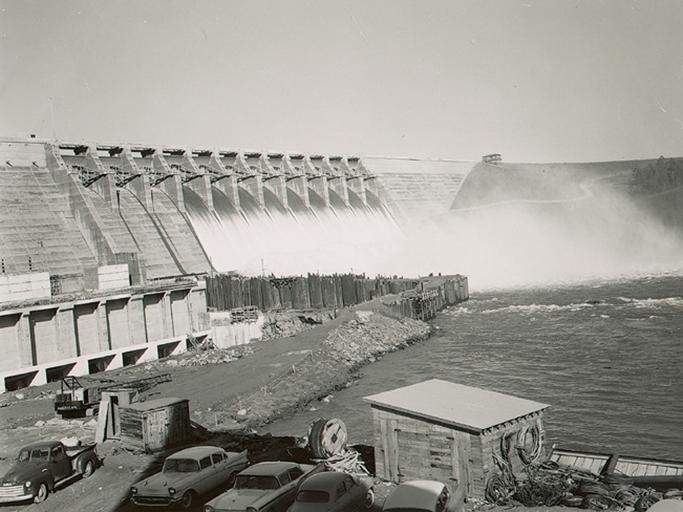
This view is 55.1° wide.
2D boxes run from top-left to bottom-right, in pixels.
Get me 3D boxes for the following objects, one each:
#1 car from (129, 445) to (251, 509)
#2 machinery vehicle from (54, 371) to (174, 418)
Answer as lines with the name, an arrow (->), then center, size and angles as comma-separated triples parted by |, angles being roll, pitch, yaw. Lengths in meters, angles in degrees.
car -> -4.940, 7.125, 21.314 | 1.659, 1.058, 3.677 | -1, 1, 30
machinery vehicle -> -10.670, 6.561, 31.730 | 5.137, 1.543, 3.331 | -5, 19, -24
